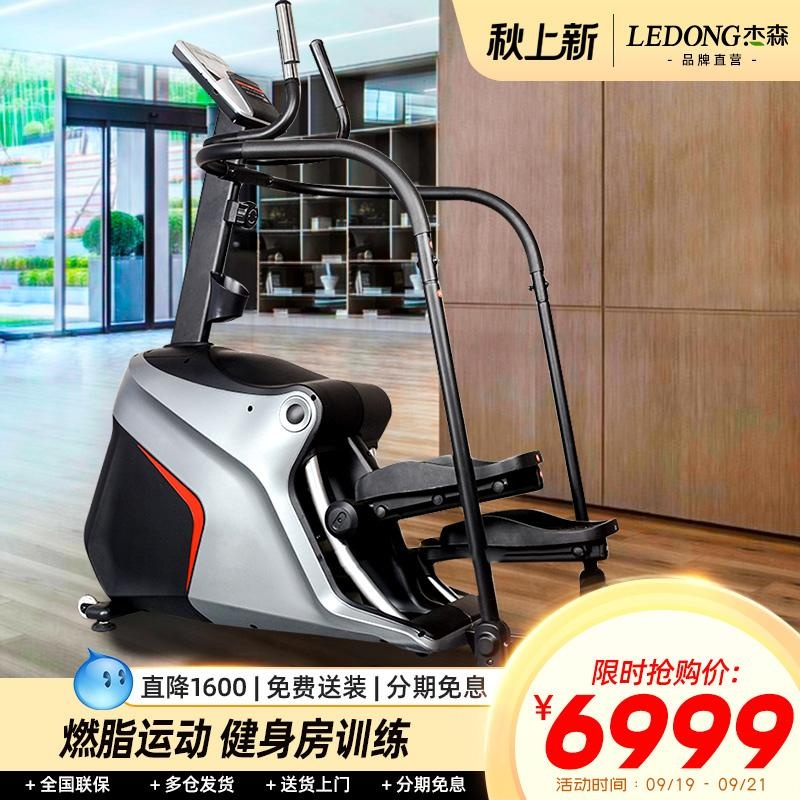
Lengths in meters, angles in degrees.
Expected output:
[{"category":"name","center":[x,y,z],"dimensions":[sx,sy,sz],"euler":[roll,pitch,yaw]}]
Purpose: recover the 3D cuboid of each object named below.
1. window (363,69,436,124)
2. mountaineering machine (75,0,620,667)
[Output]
[{"category":"window","center":[0.034,-4.205,9.902],"dimensions":[1.114,0.508,0.071],"euler":[3,4,34]},{"category":"mountaineering machine","center":[-0.207,-0.123,1.577],"dimensions":[1.207,1.415,0.564],"euler":[0,15,27]}]
